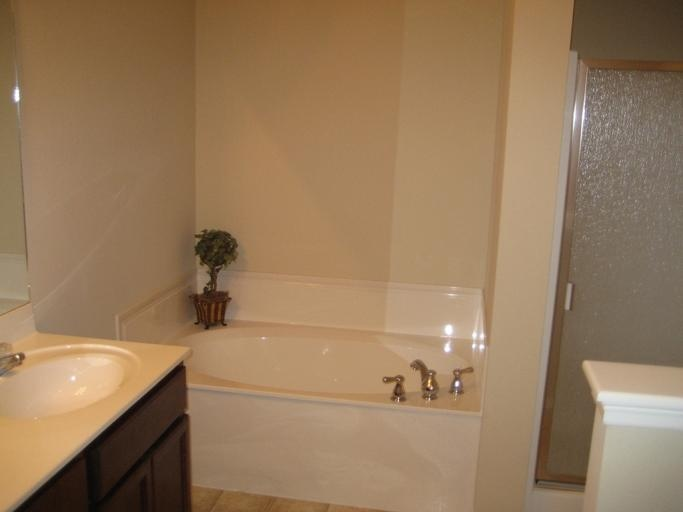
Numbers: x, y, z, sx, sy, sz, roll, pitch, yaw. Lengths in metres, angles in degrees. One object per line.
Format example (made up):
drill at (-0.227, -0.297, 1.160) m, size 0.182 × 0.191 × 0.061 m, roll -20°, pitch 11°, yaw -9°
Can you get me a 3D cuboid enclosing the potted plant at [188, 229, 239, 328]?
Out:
potted plant at (-0.835, 0.144, 3.507) m, size 0.288 × 0.638 × 0.321 m, roll 4°, pitch 4°, yaw -17°
